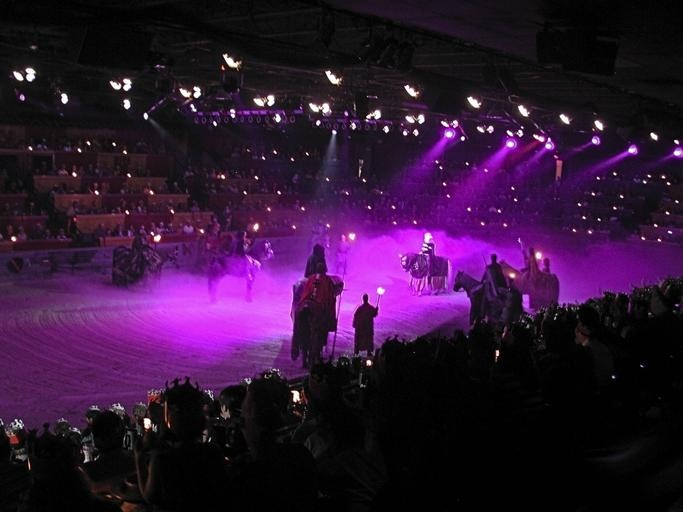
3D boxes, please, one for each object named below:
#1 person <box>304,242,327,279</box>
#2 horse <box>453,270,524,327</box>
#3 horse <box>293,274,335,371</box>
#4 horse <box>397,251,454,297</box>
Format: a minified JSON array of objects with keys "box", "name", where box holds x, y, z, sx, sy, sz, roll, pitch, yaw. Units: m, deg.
[{"box":[-0.627,0.124,13.145,0.426,0.879,1.406,1,9,-4],"name":"person"},{"box":[4.005,1.154,15.284,1.984,1.384,0.716,2,10,26],"name":"horse"},{"box":[-0.582,1.350,12.501,0.813,2.292,0.693,4,-8,14],"name":"horse"},{"box":[3.107,0.552,20.707,2.486,1.786,1.274,0,12,-7],"name":"horse"}]
